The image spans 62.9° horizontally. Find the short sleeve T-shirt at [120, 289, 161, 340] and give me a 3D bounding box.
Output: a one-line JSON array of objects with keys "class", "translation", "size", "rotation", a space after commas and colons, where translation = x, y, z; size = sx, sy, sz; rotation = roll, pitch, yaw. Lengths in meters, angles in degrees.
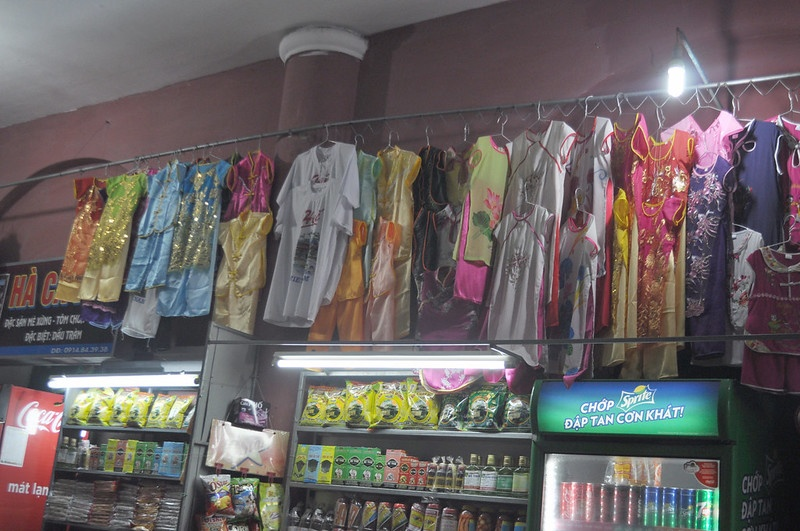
[{"class": "short sleeve T-shirt", "translation": [-2.533, 0.470, 6.485], "size": [0.424, 0.457, 0.190], "rotation": [-8, -21, 26]}]

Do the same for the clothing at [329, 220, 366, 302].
[{"class": "clothing", "translation": [-0.443, -0.039, 5.864], "size": [0.297, 0.703, 0.208], "rotation": [1, -19, 2]}]

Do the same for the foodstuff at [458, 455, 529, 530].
[{"class": "foodstuff", "translation": [0.729, 1.763, 5.073], "size": [0.532, 0.737, 0.147], "rotation": [-2, -14, 36]}]

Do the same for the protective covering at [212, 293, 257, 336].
[{"class": "protective covering", "translation": [-1.593, 0.399, 6.246], "size": [0.474, 0.424, 0.071], "rotation": [9, 11, 25]}]

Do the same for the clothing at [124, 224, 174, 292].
[{"class": "clothing", "translation": [-2.507, -0.084, 6.523], "size": [0.413, 1.017, 0.105], "rotation": [-7, -46, -9]}]

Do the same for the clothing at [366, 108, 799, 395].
[{"class": "clothing", "translation": [1.450, -0.050, 4.933], "size": [2.528, 1.807, 0.184], "rotation": [-1, -16, 20]}]
